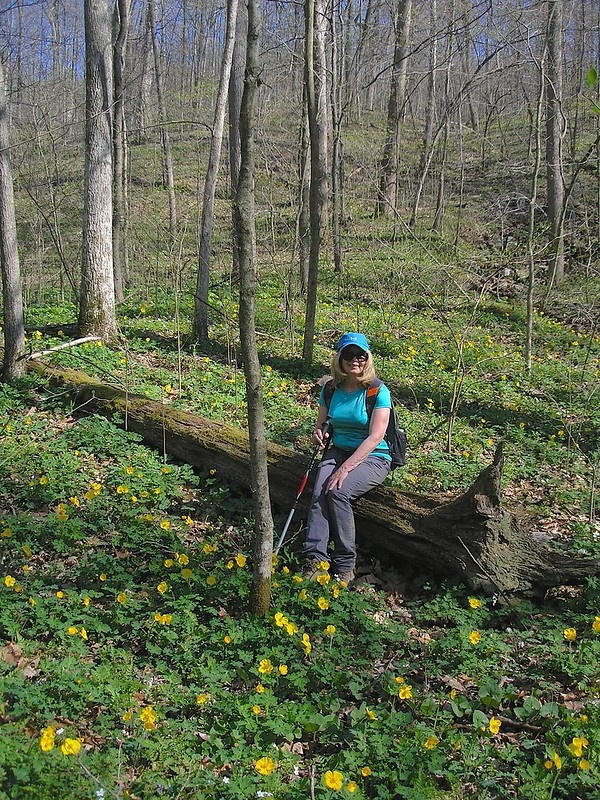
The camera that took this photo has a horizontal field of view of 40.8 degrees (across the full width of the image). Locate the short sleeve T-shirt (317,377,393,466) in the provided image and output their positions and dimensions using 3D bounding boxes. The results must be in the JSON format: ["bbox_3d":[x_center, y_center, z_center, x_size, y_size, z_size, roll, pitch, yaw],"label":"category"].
[{"bbox_3d":[0.358,0.097,5.229,0.508,0.454,0.270,2,11,30],"label":"short sleeve T-shirt"}]

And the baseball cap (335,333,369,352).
[{"bbox_3d":[0.351,-0.382,5.099,0.195,0.128,0.299,3,13,6],"label":"baseball cap"}]
